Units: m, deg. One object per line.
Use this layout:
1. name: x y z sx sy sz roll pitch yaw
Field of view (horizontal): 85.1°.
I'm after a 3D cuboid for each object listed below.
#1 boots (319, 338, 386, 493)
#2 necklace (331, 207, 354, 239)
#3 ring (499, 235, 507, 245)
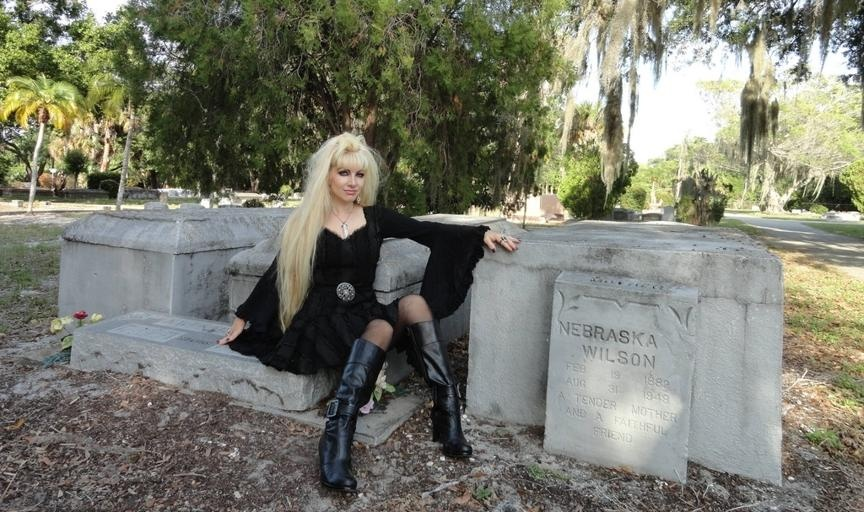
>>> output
1. boots: -0.722 1.345 4.183 0.394 1.120 0.666 5 8 12
2. necklace: -0.897 -0.312 4.698 0.352 0.040 0.431 3 52 -13
3. ring: 0.699 -0.151 4.600 0.048 0.064 0.021 22 -10 -37
